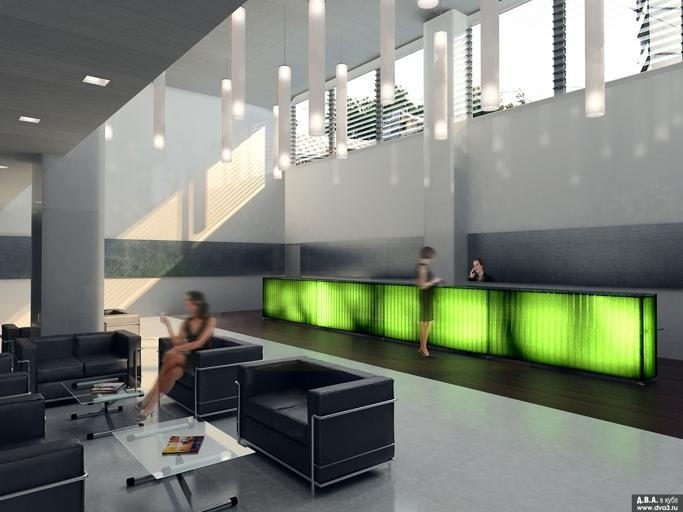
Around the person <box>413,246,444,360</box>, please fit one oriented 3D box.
[{"bbox_3d":[1.694,0.854,9.582,0.438,2.102,1.123,0,5,9],"label":"person"}]

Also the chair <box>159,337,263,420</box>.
[{"bbox_3d":[-1.747,1.408,6.734,0.976,1.022,1.230,3,-4,-39],"label":"chair"}]

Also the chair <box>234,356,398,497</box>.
[{"bbox_3d":[-0.283,1.750,5.446,1.034,0.955,1.576,-5,6,-43],"label":"chair"}]

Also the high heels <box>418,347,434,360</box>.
[{"bbox_3d":[1.610,1.886,9.398,0.103,0.138,0.318,1,-13,-19],"label":"high heels"}]

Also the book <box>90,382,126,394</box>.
[{"bbox_3d":[-2.970,1.699,6.310,0.371,0.067,0.451,-3,4,-15],"label":"book"}]

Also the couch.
[{"bbox_3d":[-3.906,1.631,7.386,1.521,0.849,0.760,1,-1,-42],"label":"couch"}]

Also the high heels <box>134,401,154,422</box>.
[{"bbox_3d":[-2.623,2.075,6.550,0.138,0.197,0.431,2,-7,-36],"label":"high heels"}]
